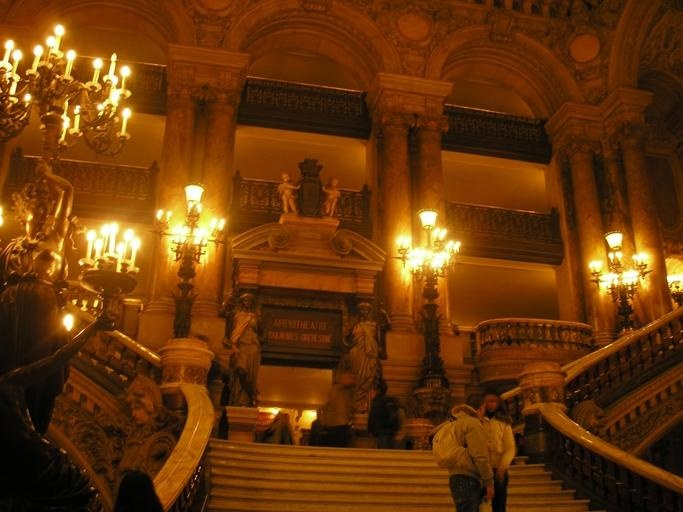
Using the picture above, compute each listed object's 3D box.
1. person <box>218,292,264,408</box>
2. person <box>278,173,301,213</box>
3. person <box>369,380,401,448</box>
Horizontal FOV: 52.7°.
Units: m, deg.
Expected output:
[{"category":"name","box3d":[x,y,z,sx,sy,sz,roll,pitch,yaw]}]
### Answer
[{"category":"person","box3d":[-1.704,1.637,12.110,0.570,2.029,1.132,6,-15,-9]},{"category":"person","box3d":[-1.227,-1.451,16.131,0.447,1.022,0.359,-6,-16,-1]},{"category":"person","box3d":[0.819,2.928,12.796,0.362,1.224,0.829,-9,-19,39]}]
